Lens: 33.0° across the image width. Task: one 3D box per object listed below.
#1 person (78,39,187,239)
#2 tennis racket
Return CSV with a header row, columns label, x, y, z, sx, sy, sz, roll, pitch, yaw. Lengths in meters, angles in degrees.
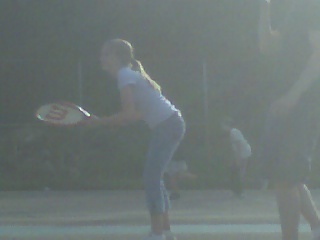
label,x,y,z,sx,sy,sz,roll,pitch,yaw
person,-0.192,0.214,5.107,0.819,1.881,0.594,2,10,3
tennis racket,-0.888,-0.056,4.939,0.479,0.195,0.246,-1,11,-14
